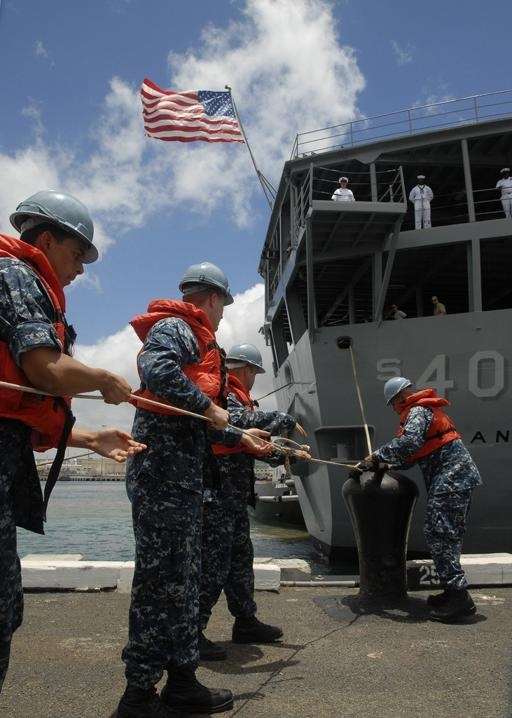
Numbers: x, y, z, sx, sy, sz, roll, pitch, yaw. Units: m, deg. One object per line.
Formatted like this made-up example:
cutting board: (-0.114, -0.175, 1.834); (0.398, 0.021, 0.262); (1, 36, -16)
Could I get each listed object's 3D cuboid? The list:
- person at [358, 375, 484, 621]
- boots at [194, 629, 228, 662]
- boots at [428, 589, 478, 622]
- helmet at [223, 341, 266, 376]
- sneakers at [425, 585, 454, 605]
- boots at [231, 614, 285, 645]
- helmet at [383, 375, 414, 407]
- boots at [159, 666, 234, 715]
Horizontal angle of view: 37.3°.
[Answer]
person: (1.156, 0.872, 5.156); (0.701, 1.516, 0.915); (5, -6, -38)
boots: (-0.238, 1.480, 3.861); (0.251, 0.116, 0.072); (0, -8, -6)
boots: (1.191, 1.523, 4.741); (0.318, 0.162, 0.306); (-1, -5, 28)
helmet: (-0.075, -0.010, 5.170); (0.219, 0.110, 0.246); (1, -10, 34)
sneakers: (1.183, 1.524, 4.869); (0.079, 0.072, 0.207); (3, 1, 21)
boots: (-0.032, 1.501, 4.236); (0.336, 0.171, 0.111); (-2, -4, -10)
helmet: (1.116, 0.230, 5.719); (0.229, 0.157, 0.258); (-23, 5, 38)
boots: (-0.261, 1.401, 3.259); (0.420, 0.213, 0.136); (-1, -4, -11)
